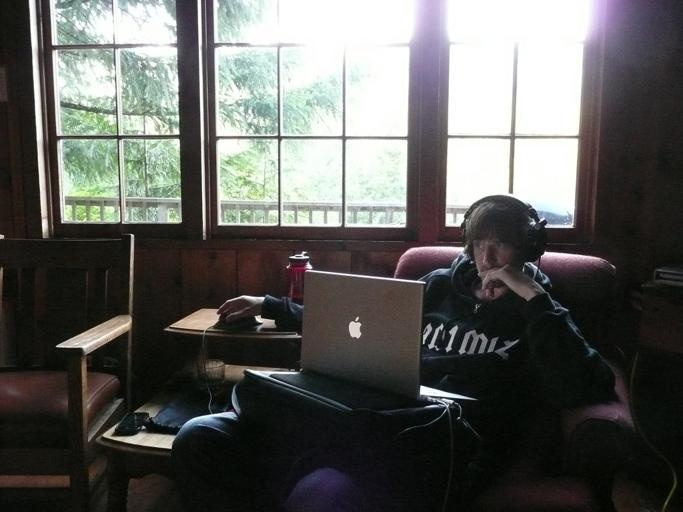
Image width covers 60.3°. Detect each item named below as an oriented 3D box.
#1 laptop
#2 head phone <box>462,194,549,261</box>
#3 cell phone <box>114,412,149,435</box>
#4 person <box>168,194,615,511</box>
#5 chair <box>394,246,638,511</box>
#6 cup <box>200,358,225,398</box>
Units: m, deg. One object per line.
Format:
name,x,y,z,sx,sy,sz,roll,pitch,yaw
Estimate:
laptop,-0.016,0.261,2.064,0.530,0.367,0.382,7,-7,-31
head phone,0.626,-0.100,2.259,0.291,0.252,0.126,1,7,34
cell phone,-0.789,0.636,2.232,0.112,0.042,0.145,2,9,14
person,0.150,0.406,2.357,1.201,1.402,1.270,26,-15,-29
chair,0.704,0.492,2.387,0.842,0.764,0.835,-1,-23,7
cup,-0.528,0.492,2.399,0.126,0.151,0.138,0,4,0
